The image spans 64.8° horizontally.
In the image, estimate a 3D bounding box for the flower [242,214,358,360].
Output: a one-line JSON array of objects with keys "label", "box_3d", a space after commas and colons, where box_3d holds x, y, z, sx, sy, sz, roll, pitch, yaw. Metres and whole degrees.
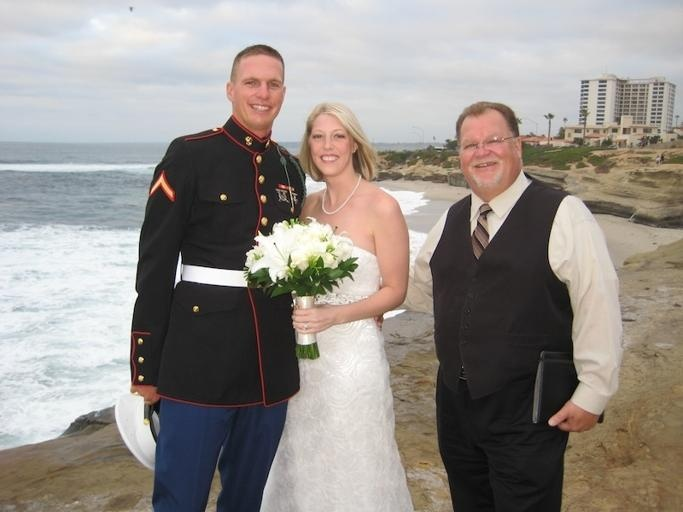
[{"label": "flower", "box_3d": [-0.263, 0.223, 3.595, 0.841, 0.730, 0.773, -2, 4, 18]}]

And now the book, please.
[{"label": "book", "box_3d": [1.440, 0.764, 3.326, 0.562, 0.130, 0.507, 28, 19, -50]}]

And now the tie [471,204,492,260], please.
[{"label": "tie", "box_3d": [0.898, -0.175, 3.439, 0.095, 0.268, 0.028, -1, -4, -33]}]

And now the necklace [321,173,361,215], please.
[{"label": "necklace", "box_3d": [0.021, -0.445, 4.018, 0.260, 0.334, 0.022, 21, -9, 42]}]
